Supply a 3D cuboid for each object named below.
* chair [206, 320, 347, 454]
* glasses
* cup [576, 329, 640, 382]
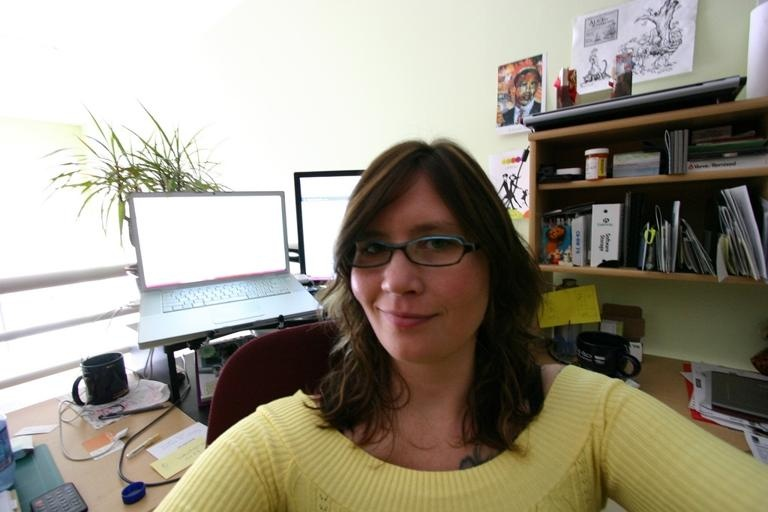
[{"bbox_3d":[-0.406,0.371,1.863,0.413,0.567,0.379,-5,19,-23],"label":"chair"},{"bbox_3d":[0.094,-0.015,1.633,0.417,0.105,0.056,-5,8,7],"label":"glasses"},{"bbox_3d":[0.932,0.399,2.110,0.166,0.164,0.248,0,6,-17],"label":"cup"}]
